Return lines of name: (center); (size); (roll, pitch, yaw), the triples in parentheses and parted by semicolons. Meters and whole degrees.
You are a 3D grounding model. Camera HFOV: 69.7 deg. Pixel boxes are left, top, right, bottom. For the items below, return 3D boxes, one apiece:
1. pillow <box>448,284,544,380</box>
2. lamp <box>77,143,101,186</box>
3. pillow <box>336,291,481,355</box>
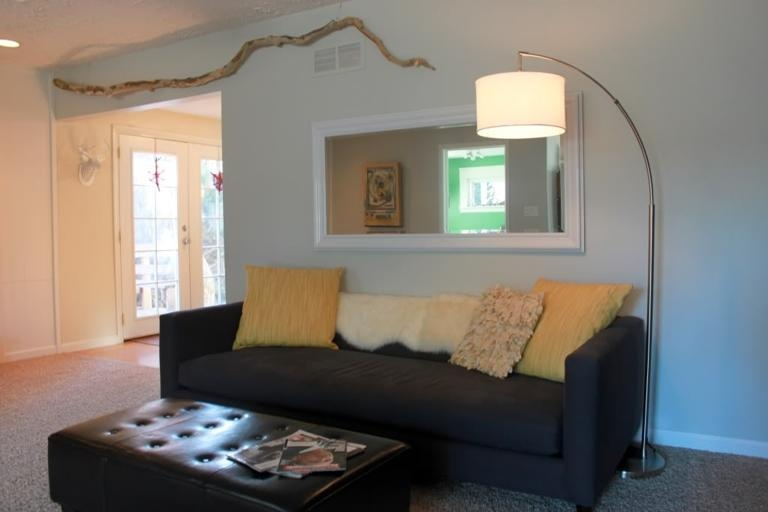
pillow: (0.742, 0.481, 3.525); (0.470, 0.571, 0.083); (10, -24, 45)
lamp: (-3.267, -1.001, 6.208); (0.166, 0.442, 0.350); (-4, -5, 32)
pillow: (0.148, 0.501, 4.091); (1.113, 0.409, 0.300); (1, 12, 22)
